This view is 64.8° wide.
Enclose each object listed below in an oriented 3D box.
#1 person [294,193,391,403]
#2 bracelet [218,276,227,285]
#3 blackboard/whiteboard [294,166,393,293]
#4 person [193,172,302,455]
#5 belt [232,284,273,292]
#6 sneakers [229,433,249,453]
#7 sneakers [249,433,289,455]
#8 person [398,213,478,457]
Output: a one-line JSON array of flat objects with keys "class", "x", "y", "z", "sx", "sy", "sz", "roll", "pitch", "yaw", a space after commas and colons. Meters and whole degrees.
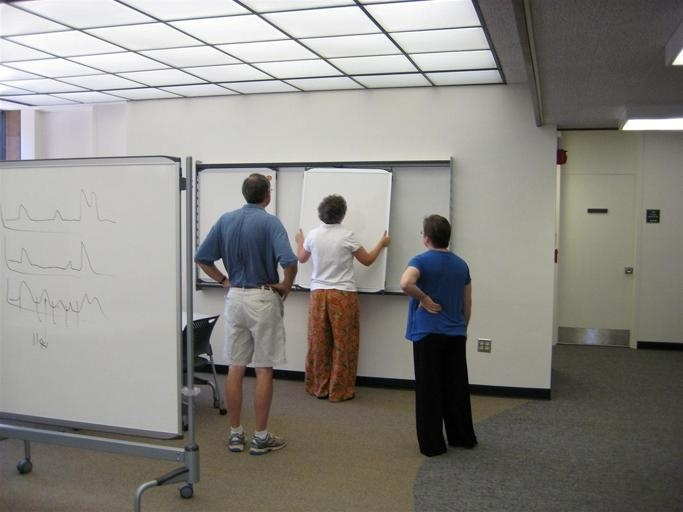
[{"class": "person", "x": -0.049, "y": 0.444, "z": 5.727, "sx": 0.773, "sy": 2.140, "sz": 0.399, "roll": 0, "pitch": 3, "yaw": -6}, {"class": "bracelet", "x": -0.982, "y": 0.206, "z": 4.389, "sx": 0.043, "sy": 0.033, "sz": 0.065, "roll": -1, "pitch": 11, "yaw": -4}, {"class": "blackboard/whiteboard", "x": 0.060, "y": -0.283, "z": 5.855, "sx": 1.225, "sy": 1.837, "sz": 0.141, "roll": 2, "pitch": -3, "yaw": 11}, {"class": "person", "x": -0.756, "y": 0.584, "z": 4.320, "sx": 0.760, "sy": 1.991, "sz": 0.276, "roll": 0, "pitch": 3, "yaw": -7}, {"class": "belt", "x": -0.697, "y": 0.253, "z": 4.246, "sx": 0.298, "sy": 0.045, "sz": 0.043, "roll": 0, "pitch": 4, "yaw": -1}, {"class": "sneakers", "x": -0.856, "y": 1.518, "z": 4.335, "sx": 0.079, "sy": 0.100, "sz": 0.203, "roll": 1, "pitch": 3, "yaw": -2}, {"class": "sneakers", "x": -0.603, "y": 1.525, "z": 4.406, "sx": 0.122, "sy": 0.157, "sz": 0.316, "roll": 1, "pitch": 2, "yaw": 44}, {"class": "person", "x": 0.763, "y": 0.638, "z": 4.332, "sx": 0.694, "sy": 1.918, "sz": 0.246, "roll": -1, "pitch": 3, "yaw": -15}]
